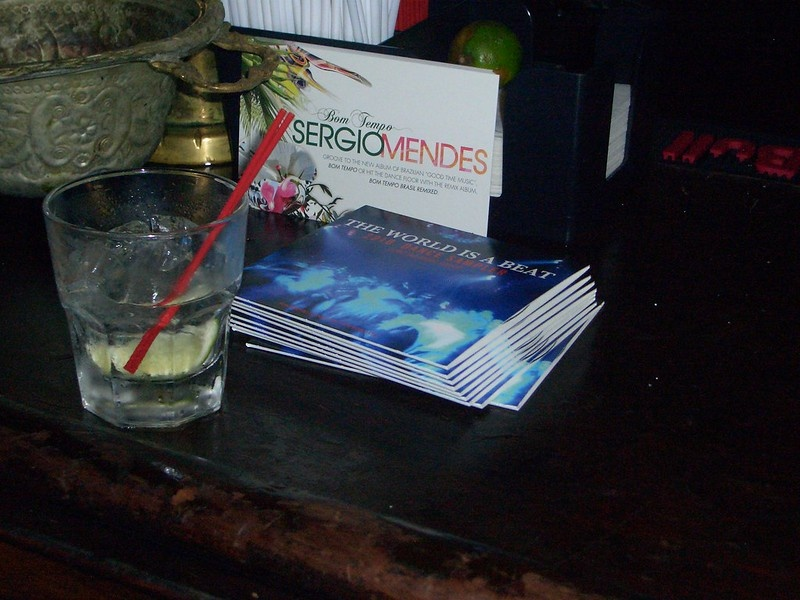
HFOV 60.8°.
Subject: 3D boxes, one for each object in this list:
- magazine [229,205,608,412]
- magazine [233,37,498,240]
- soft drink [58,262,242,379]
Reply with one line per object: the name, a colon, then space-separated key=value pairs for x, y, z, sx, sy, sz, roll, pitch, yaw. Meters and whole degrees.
magazine: x=0.031 y=-0.010 z=0.706 sx=0.312 sy=0.085 sz=0.280 roll=16 pitch=26 yaw=23
magazine: x=-0.031 y=-0.188 z=0.782 sx=0.271 sy=0.180 sz=0.028 roll=14 pitch=31 yaw=19
soft drink: x=-0.204 y=0.015 z=0.586 sx=0.109 sy=0.071 sz=0.112 roll=20 pitch=36 yaw=19
